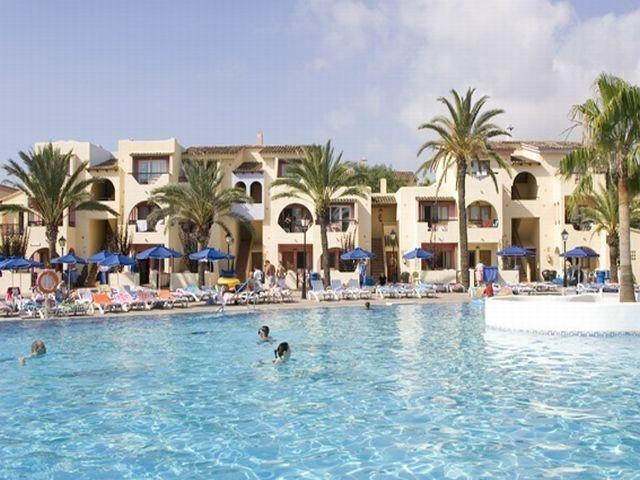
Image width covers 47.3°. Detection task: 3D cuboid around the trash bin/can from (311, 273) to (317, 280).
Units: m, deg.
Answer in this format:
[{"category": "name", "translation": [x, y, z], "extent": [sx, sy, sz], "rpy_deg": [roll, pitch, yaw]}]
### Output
[{"category": "trash bin/can", "translation": [-0.343, 2.251, 46.029], "extent": [0.376, 0.473, 0.403], "rpy_deg": [-1, -2, 4]}]

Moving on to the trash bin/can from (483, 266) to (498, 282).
[{"category": "trash bin/can", "translation": [9.941, 1.974, 42.384], "extent": [0.762, 0.855, 0.756], "rpy_deg": [1, -3, -33]}]

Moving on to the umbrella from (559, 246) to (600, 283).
[{"category": "umbrella", "translation": [15.693, 1.775, 43.993], "extent": [2.394, 3.195, 2.644], "rpy_deg": [0, 8, 14]}]

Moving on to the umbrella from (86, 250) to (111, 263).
[{"category": "umbrella", "translation": [-11.957, 0.914, 39.431], "extent": [0.943, 0.451, 0.978], "rpy_deg": [-2, 2, 43]}]

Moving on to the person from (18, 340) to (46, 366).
[{"category": "person", "translation": [-9.004, 3.515, 22.878], "extent": [0.440, 0.320, 0.706], "rpy_deg": [0, 21, 20]}]

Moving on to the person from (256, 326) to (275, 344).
[{"category": "person", "translation": [-1.863, 3.190, 25.362], "extent": [0.543, 0.627, 1.215], "rpy_deg": [-1, 8, -5]}]
